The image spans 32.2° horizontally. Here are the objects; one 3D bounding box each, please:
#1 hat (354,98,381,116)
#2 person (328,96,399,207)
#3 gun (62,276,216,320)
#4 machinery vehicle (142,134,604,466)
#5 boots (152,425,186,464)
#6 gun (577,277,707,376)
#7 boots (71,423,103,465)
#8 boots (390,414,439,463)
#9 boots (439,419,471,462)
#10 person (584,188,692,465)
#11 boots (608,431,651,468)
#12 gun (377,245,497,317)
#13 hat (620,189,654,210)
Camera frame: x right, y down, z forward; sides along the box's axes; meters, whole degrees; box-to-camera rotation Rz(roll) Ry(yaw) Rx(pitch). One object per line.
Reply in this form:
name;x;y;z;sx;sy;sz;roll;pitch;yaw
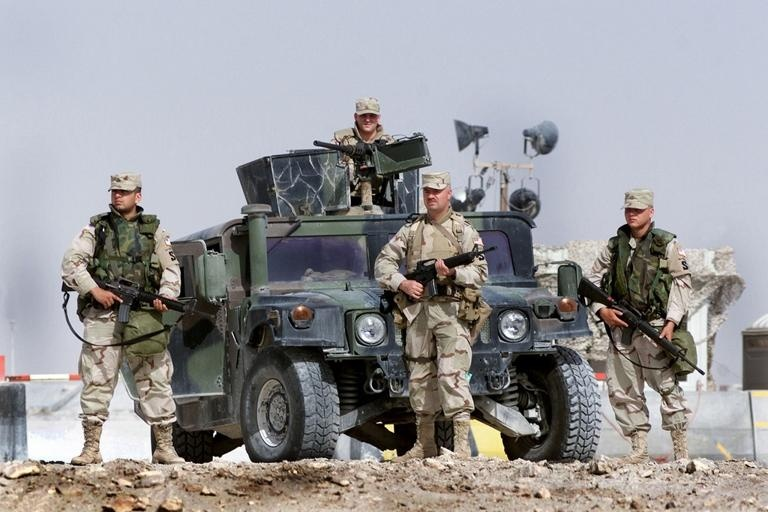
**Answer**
hat;-0.158;-1.755;14.903;0.241;0.179;0.256;0;-1;-9
person;-0.147;-1.180;15.230;0.642;1.517;0.453;0;25;5
gun;-2.383;0.361;13.008;1.365;0.550;0.195;14;-2;-6
machinery vehicle;-0.507;0.522;14.415;2.926;2.838;4.360;2;-8;-29
boots;-2.138;1.891;13.372;0.375;0.433;0.186;8;-2;24
gun;2.559;0.642;13.361;1.177;0.966;0.378;-1;-1;10
boots;-2.857;1.824;12.955;0.178;0.457;0.425;0;1;23
boots;0.289;1.770;12.999;0.494;0.580;0.255;2;0;-5
boots;0.710;1.740;13.023;0.276;0.368;0.727;0;-1;2
person;2.595;0.674;13.544;1.054;2.925;0.820;-1;5;32
boots;2.535;1.939;13.495;0.456;0.531;0.246;2;-8;4
gun;0.501;0.209;12.943;1.264;0.535;0.179;-19;-26;27
hat;2.546;-0.623;13.224;0.263;0.200;0.488;-1;-1;10
